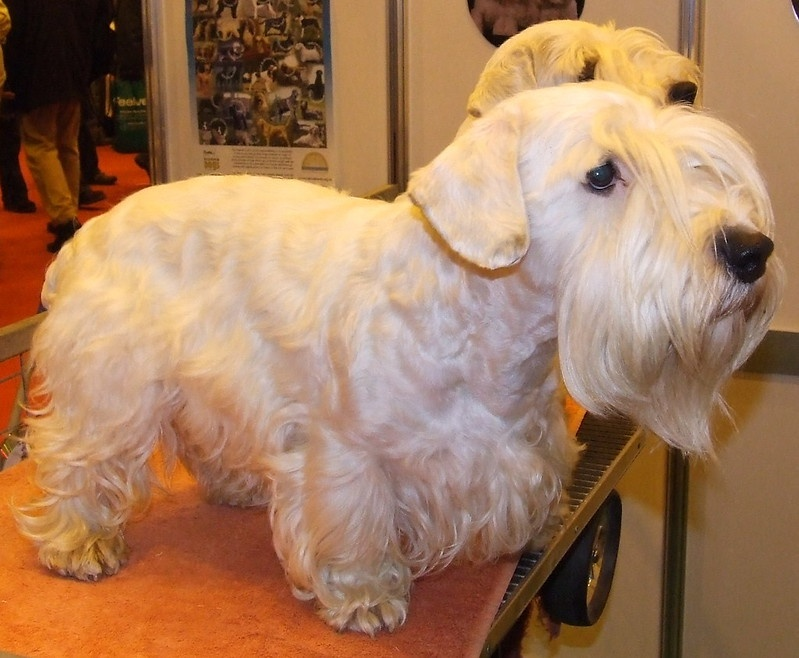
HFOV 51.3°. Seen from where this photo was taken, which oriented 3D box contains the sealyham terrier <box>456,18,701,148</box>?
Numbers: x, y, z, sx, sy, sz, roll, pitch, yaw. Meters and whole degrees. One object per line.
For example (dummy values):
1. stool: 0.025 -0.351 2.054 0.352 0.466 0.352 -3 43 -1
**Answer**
1. sealyham terrier: 0.404 -0.637 1.874 0.443 0.302 0.315 -16 25 13
